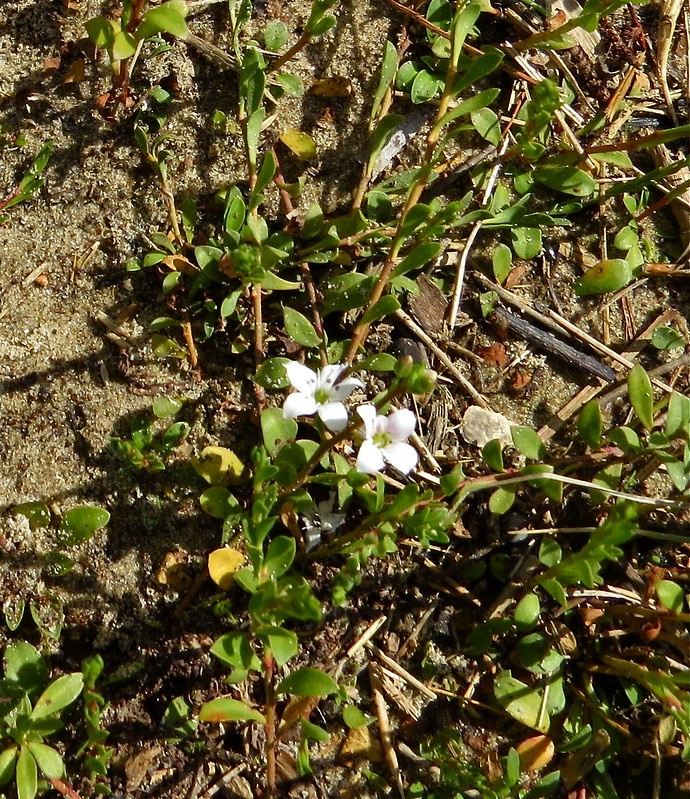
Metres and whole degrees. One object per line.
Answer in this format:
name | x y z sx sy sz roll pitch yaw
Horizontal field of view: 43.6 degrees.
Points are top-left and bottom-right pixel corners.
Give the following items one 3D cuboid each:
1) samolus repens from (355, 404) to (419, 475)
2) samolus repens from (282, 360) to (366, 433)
samolus repens | 0.095 0.099 2.128 0.195 0.156 0.066 -2 2 -30
samolus repens | -0.071 0.006 2.207 0.186 0.209 0.217 9 28 -4
